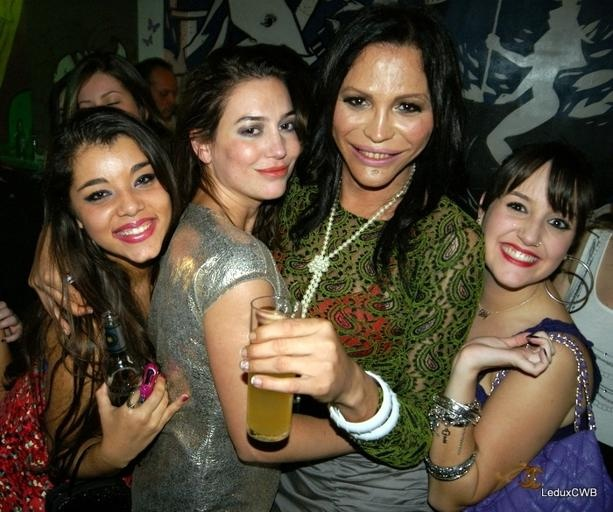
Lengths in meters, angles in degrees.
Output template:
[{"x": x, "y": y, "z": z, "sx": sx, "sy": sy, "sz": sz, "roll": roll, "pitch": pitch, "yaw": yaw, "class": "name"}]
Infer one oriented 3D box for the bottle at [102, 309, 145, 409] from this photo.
[{"x": -0.934, "y": 0.594, "z": 2.655, "sx": 0.173, "sy": 0.621, "sz": 0.153, "roll": -11, "pitch": 6, "yaw": -17, "class": "bottle"}]
